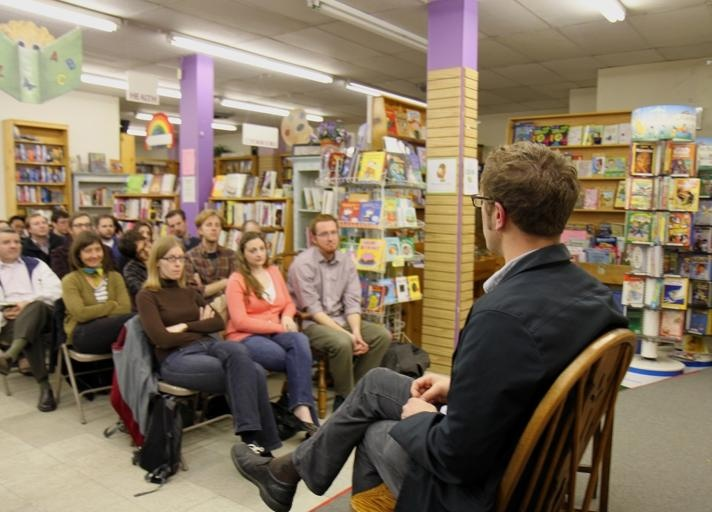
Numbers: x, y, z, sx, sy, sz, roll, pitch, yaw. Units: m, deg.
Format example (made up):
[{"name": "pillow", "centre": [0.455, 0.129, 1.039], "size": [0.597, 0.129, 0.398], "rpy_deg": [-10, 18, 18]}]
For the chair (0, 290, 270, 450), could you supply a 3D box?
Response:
[{"name": "chair", "centre": [-1.155, 0.823, 3.542], "size": [1.532, 0.706, 1.051], "rpy_deg": [9, -7, -36]}]

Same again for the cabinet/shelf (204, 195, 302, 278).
[{"name": "cabinet/shelf", "centre": [-1.116, -0.247, 5.848], "size": [1.271, 1.064, 0.380], "rpy_deg": [1, 1, 38]}]

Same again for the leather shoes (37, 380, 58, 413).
[{"name": "leather shoes", "centre": [-2.549, 1.175, 4.233], "size": [0.133, 0.098, 0.269], "rpy_deg": [1, 2, -32]}]
